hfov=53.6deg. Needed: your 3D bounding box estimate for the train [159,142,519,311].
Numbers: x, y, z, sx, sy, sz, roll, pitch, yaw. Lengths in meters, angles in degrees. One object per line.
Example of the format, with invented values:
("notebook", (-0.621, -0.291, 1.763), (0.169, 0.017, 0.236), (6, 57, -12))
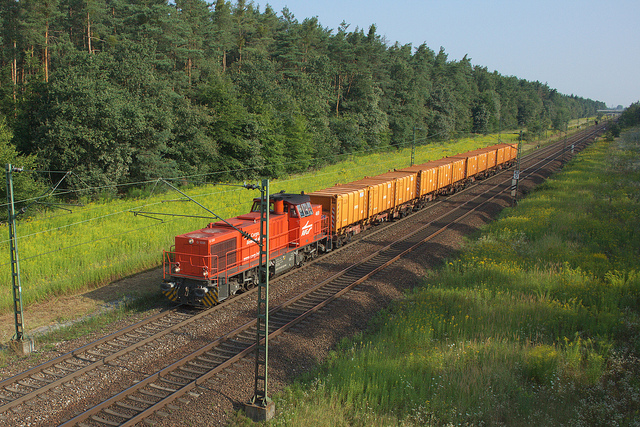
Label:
("train", (8.565, -3.983, 74.928), (14.368, 9.773, 75.347), (11, 16, 28))
